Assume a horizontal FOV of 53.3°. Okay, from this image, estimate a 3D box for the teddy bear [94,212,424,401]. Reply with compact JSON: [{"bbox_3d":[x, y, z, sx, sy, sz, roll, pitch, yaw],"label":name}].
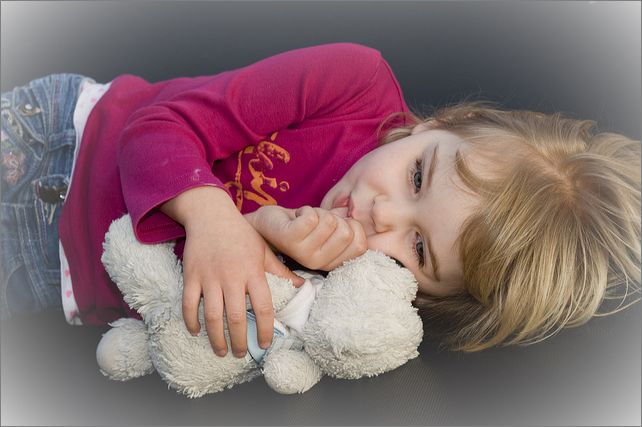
[{"bbox_3d":[-0.141,0.208,1.453,0.705,0.249,0.444,9,54,-4],"label":"teddy bear"}]
